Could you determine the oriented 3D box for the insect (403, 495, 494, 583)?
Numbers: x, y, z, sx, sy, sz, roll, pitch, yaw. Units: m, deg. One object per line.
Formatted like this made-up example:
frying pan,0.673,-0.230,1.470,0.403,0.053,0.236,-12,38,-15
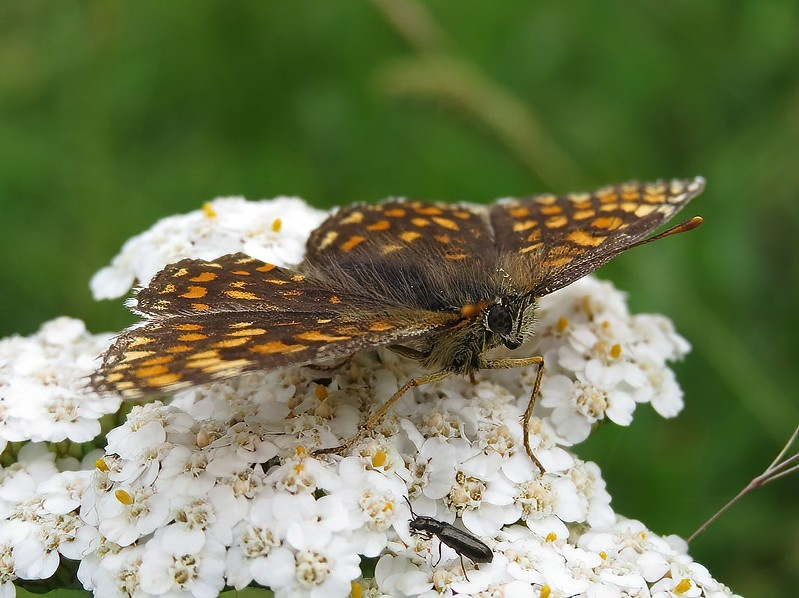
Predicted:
insect,0.090,0.548,1.859,0.249,0.079,0.169,22,14,2
